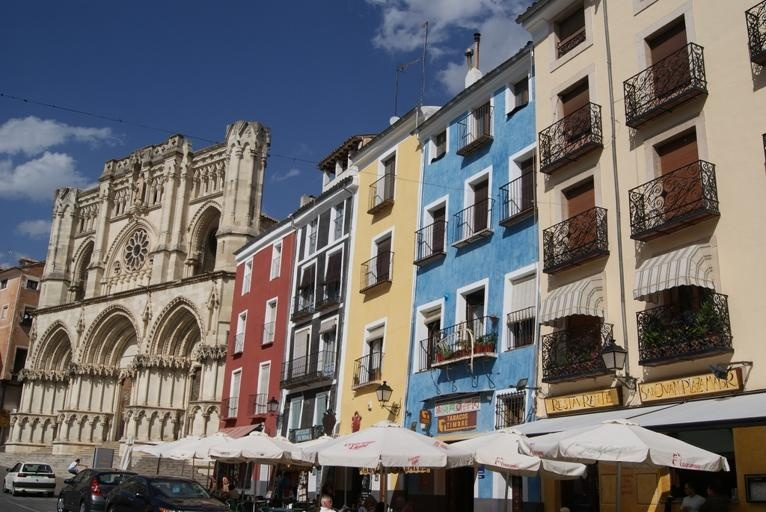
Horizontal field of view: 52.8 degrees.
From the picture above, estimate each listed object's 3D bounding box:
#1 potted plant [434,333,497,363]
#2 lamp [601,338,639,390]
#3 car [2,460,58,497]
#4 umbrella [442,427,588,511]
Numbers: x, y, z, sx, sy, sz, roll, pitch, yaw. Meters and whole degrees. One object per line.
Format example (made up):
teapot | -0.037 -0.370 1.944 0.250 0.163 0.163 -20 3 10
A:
potted plant | 2.989 3.312 28.345 0.559 1.223 2.680 19 -31 -36
lamp | 7.032 3.164 23.339 1.011 1.769 0.703 21 -31 -38
car | -17.602 11.040 38.413 1.567 1.224 2.833 6 -10 -30
umbrella | 3.560 6.112 21.654 2.239 1.567 2.280 -16 -23 37
